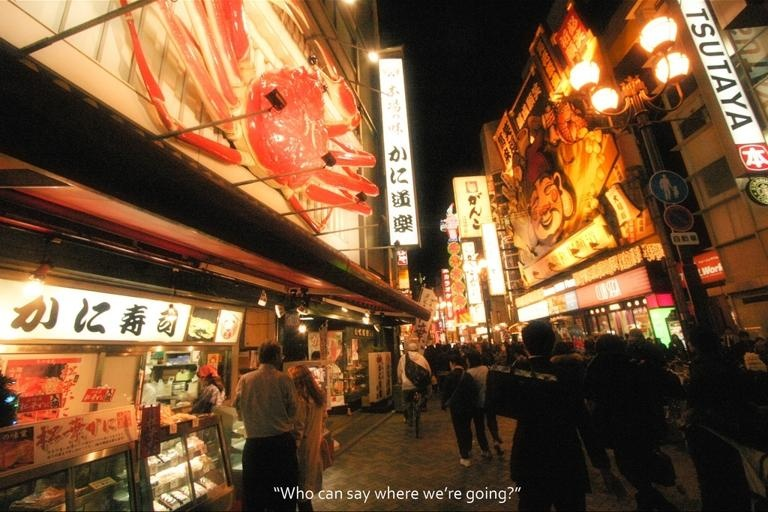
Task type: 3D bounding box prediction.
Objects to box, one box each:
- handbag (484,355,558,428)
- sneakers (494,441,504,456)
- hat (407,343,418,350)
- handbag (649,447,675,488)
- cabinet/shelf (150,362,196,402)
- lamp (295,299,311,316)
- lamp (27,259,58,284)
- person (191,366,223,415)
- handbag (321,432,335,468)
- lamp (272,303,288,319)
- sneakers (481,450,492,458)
[{"bbox_3d":[2.506,2.328,8.187,1.519,1.279,0.579,-11,-39,24],"label":"handbag"},{"bbox_3d":[2.974,4.878,11.559,0.207,0.428,0.277,-3,-5,-2],"label":"sneakers"},{"bbox_3d":[0.901,2.860,14.354,0.287,0.202,0.216,-1,-13,1],"label":"hat"},{"bbox_3d":[5.084,3.880,8.493,0.644,0.623,0.166,17,-14,-16],"label":"handbag"},{"bbox_3d":[-5.307,3.151,11.642,0.878,1.129,1.196,-12,-14,36],"label":"cabinet/shelf"},{"bbox_3d":[-2.146,1.357,12.070,0.324,0.158,0.481,6,-17,-4],"label":"lamp"},{"bbox_3d":[-6.103,0.282,8.104,0.344,0.435,0.274,0,-6,-45],"label":"lamp"},{"bbox_3d":[-4.158,3.108,10.674,0.674,0.953,1.388,-3,-4,-22],"label":"person"},{"bbox_3d":[-1.226,4.217,9.894,0.205,0.650,0.664,1,-1,-9],"label":"handbag"},{"bbox_3d":[-2.617,1.374,11.404,0.306,0.258,0.322,1,-13,8],"label":"lamp"},{"bbox_3d":[2.563,4.954,11.374,0.279,0.253,0.125,-1,-2,-13],"label":"sneakers"}]
